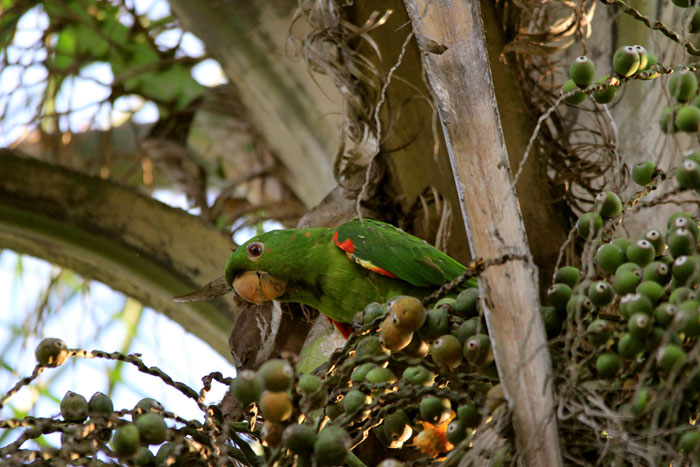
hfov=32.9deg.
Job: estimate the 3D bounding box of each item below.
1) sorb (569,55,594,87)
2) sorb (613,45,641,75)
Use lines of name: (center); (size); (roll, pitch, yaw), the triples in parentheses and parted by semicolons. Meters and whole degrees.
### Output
sorb: (0.718, -0.505, 3.687); (0.075, 0.119, 0.111); (1, -3, -1)
sorb: (0.844, -0.526, 3.639); (0.059, 0.071, 0.093); (1, -48, 6)
